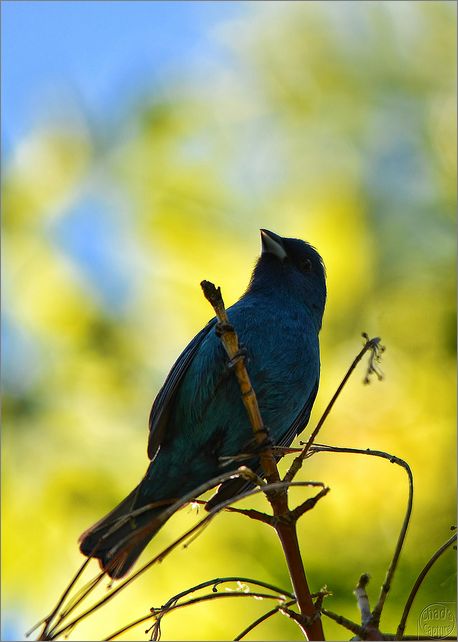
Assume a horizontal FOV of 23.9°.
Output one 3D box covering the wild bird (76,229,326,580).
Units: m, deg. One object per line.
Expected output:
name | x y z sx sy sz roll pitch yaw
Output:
wild bird | -0.020 0.428 4.391 1.466 0.512 0.896 -45 4 12
